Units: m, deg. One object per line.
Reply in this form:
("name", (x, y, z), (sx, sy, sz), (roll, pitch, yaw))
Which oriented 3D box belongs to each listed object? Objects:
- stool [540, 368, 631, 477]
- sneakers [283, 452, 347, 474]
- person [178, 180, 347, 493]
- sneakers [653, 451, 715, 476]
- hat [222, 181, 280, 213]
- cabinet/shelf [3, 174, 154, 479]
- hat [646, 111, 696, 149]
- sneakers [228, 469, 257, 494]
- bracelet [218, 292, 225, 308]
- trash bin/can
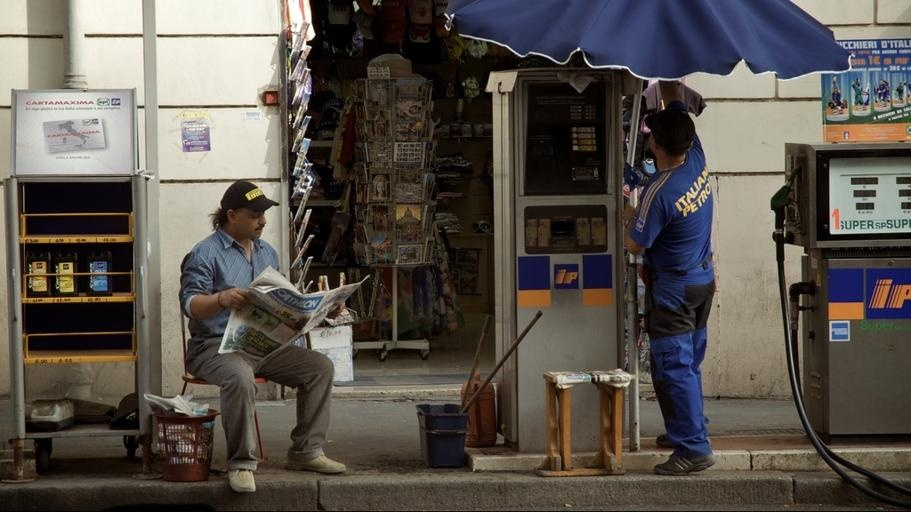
("stool", (1.150, 1.525, 12.089), (1.156, 0.963, 0.583), (0, -5, -6))
("sneakers", (-1.287, 1.903, 12.119), (0.537, 0.190, 0.198), (0, -2, 2))
("person", (-1.823, 0.717, 12.008), (1.351, 2.786, 0.815), (0, -1, -10))
("sneakers", (2.086, 1.902, 12.146), (0.544, 0.211, 0.199), (-2, 2, -4))
("hat", (-1.899, -0.534, 12.155), (0.466, 0.193, 0.282), (-4, 7, 12))
("cabinet/shelf", (-3.434, 0.627, 12.205), (1.356, 2.741, 0.732), (0, -1, -11))
("hat", (1.954, -1.136, 12.039), (0.339, 0.386, 0.209), (-11, -28, -13))
("sneakers", (-1.889, 2.001, 11.747), (0.259, 0.230, 0.195), (0, -1, -22))
("bracelet", (-2.081, 0.394, 11.751), (0.054, 0.121, 0.118), (0, -1, -24))
("trash bin/can", (-2.416, 1.718, 11.971), (0.673, 0.480, 0.645), (-1, -5, 30))
